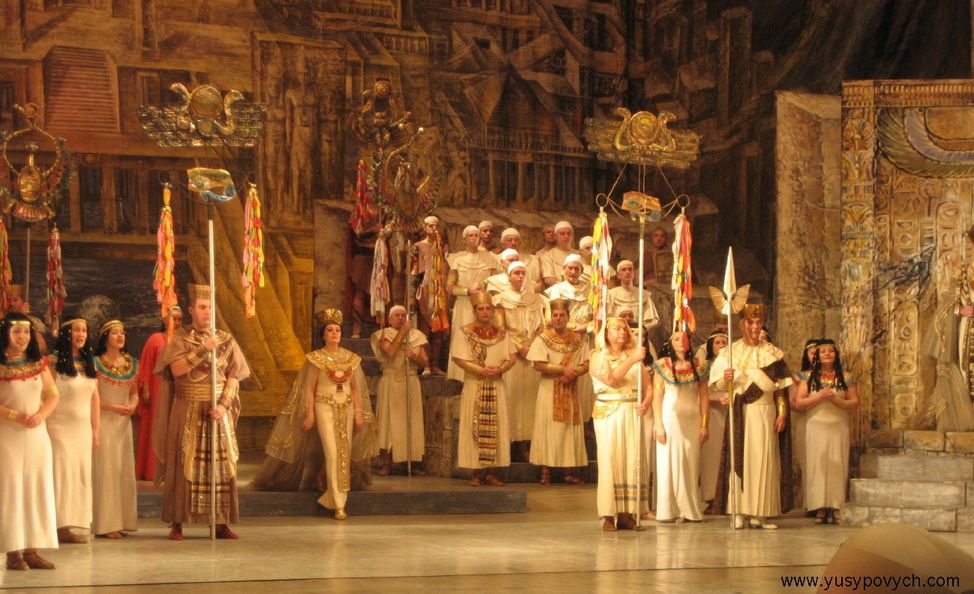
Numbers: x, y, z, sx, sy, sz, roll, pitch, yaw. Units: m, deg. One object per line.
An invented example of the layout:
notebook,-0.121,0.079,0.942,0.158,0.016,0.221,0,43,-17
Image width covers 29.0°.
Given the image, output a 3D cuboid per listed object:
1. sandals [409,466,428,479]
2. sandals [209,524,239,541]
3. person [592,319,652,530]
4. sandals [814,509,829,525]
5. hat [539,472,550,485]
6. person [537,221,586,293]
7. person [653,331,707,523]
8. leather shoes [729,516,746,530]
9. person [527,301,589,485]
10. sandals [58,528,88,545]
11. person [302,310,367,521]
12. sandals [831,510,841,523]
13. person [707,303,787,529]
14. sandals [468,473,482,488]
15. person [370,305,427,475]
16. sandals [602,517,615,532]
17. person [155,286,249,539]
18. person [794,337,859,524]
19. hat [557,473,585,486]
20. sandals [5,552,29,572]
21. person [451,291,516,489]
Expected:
sandals,-0.974,2.399,25.976,0.333,0.203,0.107,-2,3,12
sandals,-3.194,2.868,22.933,0.434,0.231,0.145,1,-3,-7
person,1.630,1.574,23.516,0.668,2.681,0.467,-1,-7,3
sandals,4.278,2.793,24.028,0.245,0.194,0.130,-4,-7,33
hat,0.805,2.456,25.661,0.180,0.221,0.221,0,-1,5
person,1.174,-0.611,27.447,0.934,1.017,0.745,-7,12,-32
person,2.430,1.619,23.717,0.676,2.418,0.531,0,-7,-1
leather shoes,3.139,2.842,23.624,0.117,0.127,0.207,-9,-5,37
person,0.979,1.261,25.291,0.799,2.472,1.178,-1,-6,3
sandals,-5.005,2.893,22.839,0.441,0.229,0.146,1,1,-5
person,-1.900,1.479,23.861,0.846,2.652,0.434,6,-9,-41
sandals,4.432,2.810,23.989,0.153,0.122,0.046,-8,-20,42
person,3.388,1.509,24.002,1.026,2.850,0.714,0,-7,-6
sandals,-0.133,2.434,24.971,0.157,0.158,0.063,8,14,-1
person,-1.184,1.248,25.721,0.754,2.298,1.136,0,-6,-3
sandals,1.522,2.823,23.366,0.160,0.188,0.138,0,-6,0
person,-3.463,1.392,22.926,1.054,3.094,0.481,1,-7,-8
person,4.314,1.706,24.080,0.793,2.346,0.266,-1,-7,7
hat,1.171,2.484,25.743,0.317,0.106,0.151,-3,-2,36
sandals,-5.382,3.048,21.666,0.254,0.197,0.064,0,-7,-2
person,-0.023,1.205,25.218,0.832,2.594,0.366,1,-7,-11
